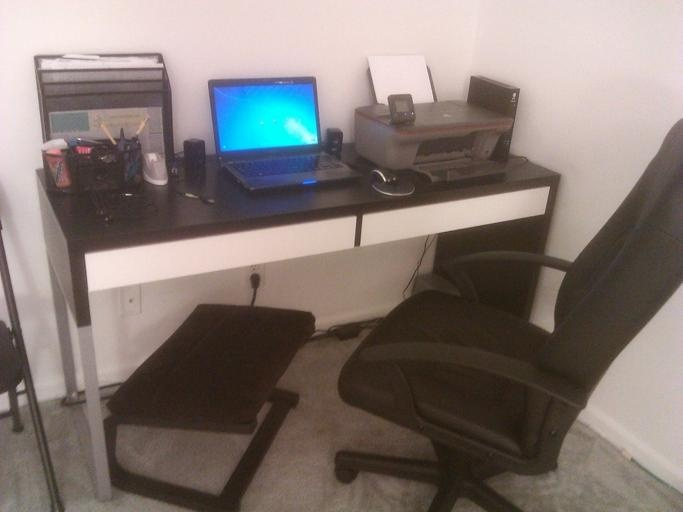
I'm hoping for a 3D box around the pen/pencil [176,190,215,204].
[{"bbox_3d":[-0.513,-0.198,1.900,0.100,0.011,0.018,22,52,22],"label":"pen/pencil"}]

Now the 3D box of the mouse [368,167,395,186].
[{"bbox_3d":[0.150,-0.292,2.026,0.046,0.023,0.076,-30,42,-32],"label":"mouse"}]

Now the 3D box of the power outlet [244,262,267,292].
[{"bbox_3d":[-0.372,0.099,2.439,0.107,0.105,0.026,0,8,-22],"label":"power outlet"}]

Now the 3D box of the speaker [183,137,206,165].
[{"bbox_3d":[-0.537,-0.374,1.979,0.083,0.095,0.157,-1,10,-14],"label":"speaker"}]

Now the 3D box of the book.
[{"bbox_3d":[-0.837,-0.605,1.933,0.427,0.184,0.122,-10,27,-19],"label":"book"}]

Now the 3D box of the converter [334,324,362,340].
[{"bbox_3d":[0.032,0.378,2.722,0.107,0.026,0.064,-21,52,-25],"label":"converter"}]

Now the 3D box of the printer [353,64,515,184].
[{"bbox_3d":[0.363,-0.486,2.233,0.570,0.369,0.481,-13,32,-25],"label":"printer"}]

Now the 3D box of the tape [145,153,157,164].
[{"bbox_3d":[-0.693,-0.352,1.982,0.037,0.009,0.036,-4,69,-30],"label":"tape"}]
